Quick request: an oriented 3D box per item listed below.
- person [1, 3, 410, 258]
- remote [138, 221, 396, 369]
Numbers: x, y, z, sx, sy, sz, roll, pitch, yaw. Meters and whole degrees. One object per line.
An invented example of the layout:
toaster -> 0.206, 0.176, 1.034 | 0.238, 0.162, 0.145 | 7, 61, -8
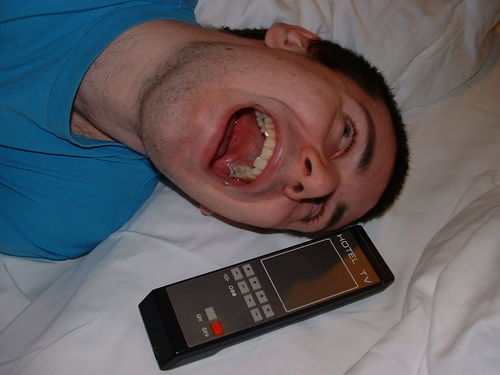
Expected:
person -> -0.151, -0.171, 1.220 | 1.133, 0.592, 0.470 | -1, 48, 3
remote -> 0.102, 0.313, 1.270 | 0.804, 0.120, 0.297 | -19, 67, -17
